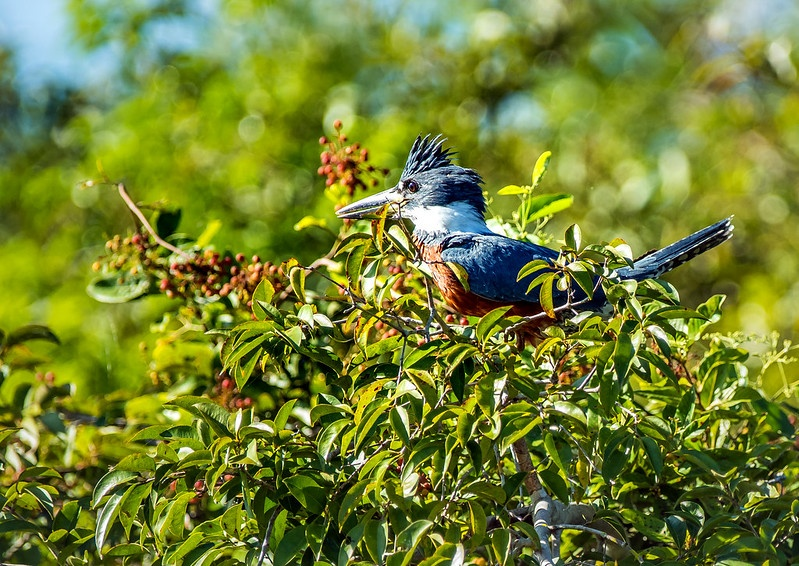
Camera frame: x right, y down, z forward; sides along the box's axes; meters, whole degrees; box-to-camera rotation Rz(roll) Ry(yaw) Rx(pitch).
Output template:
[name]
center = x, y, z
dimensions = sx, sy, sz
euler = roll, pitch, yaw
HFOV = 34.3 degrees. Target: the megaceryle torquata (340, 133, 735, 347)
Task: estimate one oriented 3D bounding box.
[megaceryle torquata]
center = 0.820, -0.246, 7.742
dimensions = 1.528, 1.555, 1.890
euler = 1, 4, 38
